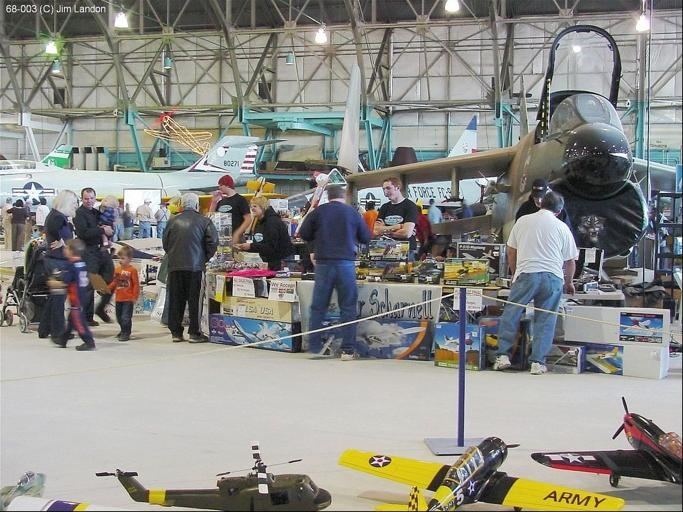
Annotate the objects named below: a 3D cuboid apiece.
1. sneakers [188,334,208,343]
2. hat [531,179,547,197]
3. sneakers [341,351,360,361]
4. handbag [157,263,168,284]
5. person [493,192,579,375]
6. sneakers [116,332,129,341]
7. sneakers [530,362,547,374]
[{"bbox_3d":[-1.769,1.020,10.409,0.263,0.109,0.095,-3,4,-44],"label":"sneakers"},{"bbox_3d":[2.239,-0.787,9.506,0.137,0.109,0.223,4,35,24],"label":"hat"},{"bbox_3d":[0.121,1.131,9.586,0.302,0.086,0.156,0,2,-42],"label":"sneakers"},{"bbox_3d":[-2.301,0.223,10.804,0.109,0.295,0.216,5,-1,19],"label":"handbag"},{"bbox_3d":[2.115,0.277,9.040,0.879,1.954,0.680,1,2,7],"label":"person"},{"bbox_3d":[-2.700,0.998,10.364,0.067,0.087,0.199,2,-11,-3],"label":"sneakers"},{"bbox_3d":[2.101,1.197,8.986,0.084,0.089,0.203,2,5,34],"label":"sneakers"}]
